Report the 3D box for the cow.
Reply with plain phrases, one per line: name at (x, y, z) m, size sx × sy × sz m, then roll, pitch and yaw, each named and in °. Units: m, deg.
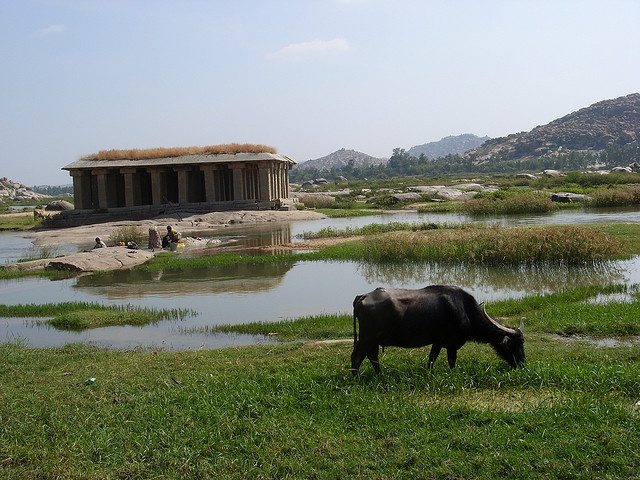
cow at (2.026, 1.635, 11.192) m, size 3.012 × 1.739 × 0.843 m, roll 3°, pitch 1°, yaw -4°
